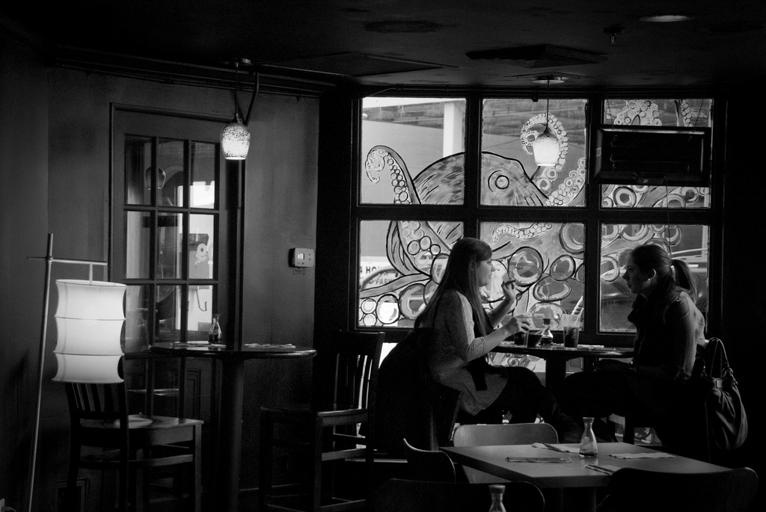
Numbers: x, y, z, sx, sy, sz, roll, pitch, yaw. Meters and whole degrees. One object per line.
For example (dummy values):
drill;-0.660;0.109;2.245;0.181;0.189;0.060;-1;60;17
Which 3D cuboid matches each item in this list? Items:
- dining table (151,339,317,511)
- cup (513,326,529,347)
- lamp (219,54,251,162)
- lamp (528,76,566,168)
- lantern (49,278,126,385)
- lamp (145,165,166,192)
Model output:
dining table;-1.186;1.268;6.456;1.266;1.375;1.263;-2;-5;24
cup;1.122;0.642;6.950;0.135;0.148;0.136;8;-14;2
lamp;-1.159;-1.144;6.943;0.232;0.786;0.701;1;-2;-10
lamp;1.379;-1.112;7.318;0.234;0.703;0.466;1;-2;10
lantern;-2.020;0.521;6.038;0.489;0.707;0.247;1;-2;-3
lamp;-1.818;-0.623;7.000;0.181;0.160;0.153;0;0;-2
